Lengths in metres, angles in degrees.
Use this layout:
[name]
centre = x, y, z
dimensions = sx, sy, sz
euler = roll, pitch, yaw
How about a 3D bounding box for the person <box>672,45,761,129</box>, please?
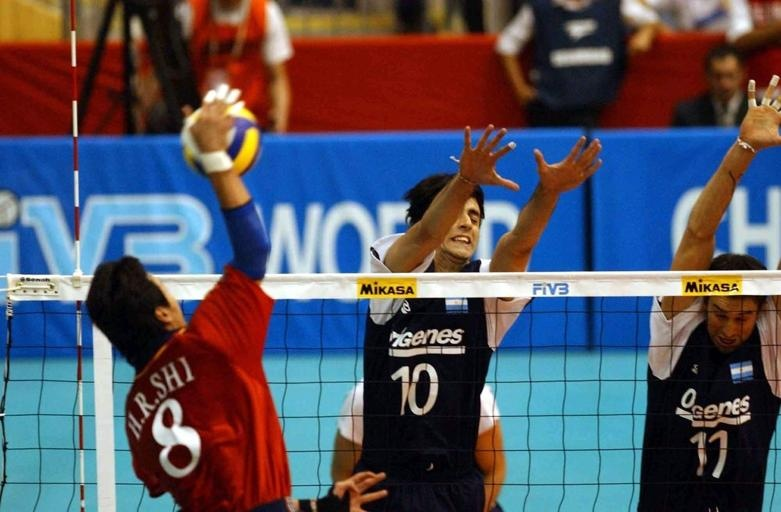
[person]
centre = 3.737, -1.887, 16.414
dimensions = 0.640, 1.259, 0.571
euler = 2, -5, 5
